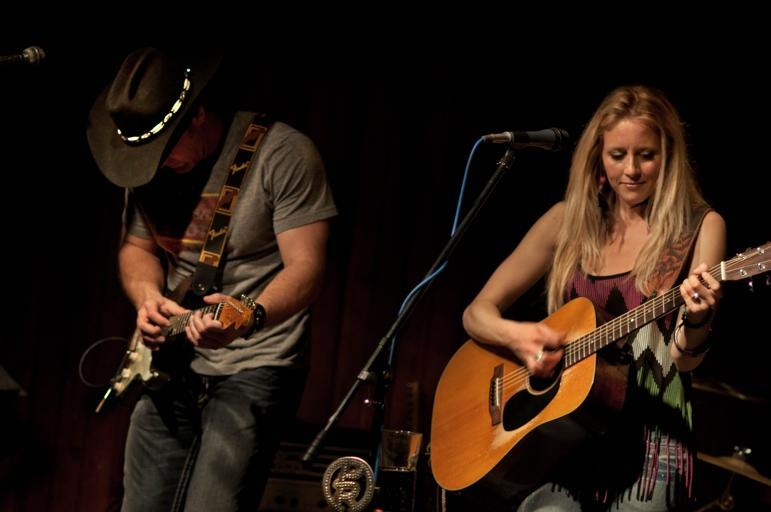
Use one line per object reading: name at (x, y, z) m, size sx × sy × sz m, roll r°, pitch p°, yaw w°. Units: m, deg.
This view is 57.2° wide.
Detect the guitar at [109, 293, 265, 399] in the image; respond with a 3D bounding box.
guitar at (-1.116, 0.512, 3.638) m, size 0.292 × 0.636 × 1.074 m, roll 12°, pitch -1°, yaw -38°

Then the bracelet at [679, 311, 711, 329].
bracelet at (1.349, 0.270, 3.063) m, size 0.112 × 0.075 × 0.051 m, roll 11°, pitch -1°, yaw 24°

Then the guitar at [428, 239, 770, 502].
guitar at (1.116, 0.662, 3.373) m, size 0.272 × 0.799 × 1.921 m, roll 26°, pitch -45°, yaw -33°

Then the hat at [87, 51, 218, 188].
hat at (-1.202, -0.675, 4.069) m, size 0.722 × 0.830 × 0.348 m, roll 24°, pitch -6°, yaw 36°

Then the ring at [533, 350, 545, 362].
ring at (0.734, 0.473, 3.369) m, size 0.036 × 0.013 × 0.049 m, roll -25°, pitch 10°, yaw 11°

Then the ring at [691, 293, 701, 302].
ring at (1.312, 0.169, 2.983) m, size 0.010 × 0.036 × 0.036 m, roll -5°, pitch -11°, yaw -45°

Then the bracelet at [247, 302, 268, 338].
bracelet at (-0.604, 0.290, 3.322) m, size 0.055 × 0.135 × 0.116 m, roll 8°, pitch 8°, yaw -34°
